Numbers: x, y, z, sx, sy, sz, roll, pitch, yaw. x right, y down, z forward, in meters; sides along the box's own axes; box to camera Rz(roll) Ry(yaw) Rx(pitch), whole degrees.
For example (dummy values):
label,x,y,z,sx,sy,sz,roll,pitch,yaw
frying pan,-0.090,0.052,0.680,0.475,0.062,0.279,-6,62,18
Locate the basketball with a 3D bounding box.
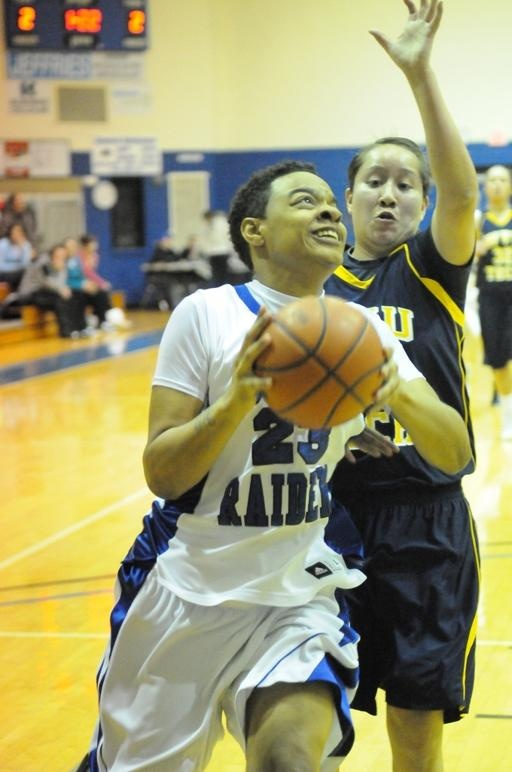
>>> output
label,x,y,z,sx,sy,sz,roll,pitch,yaw
basketball,0.076,-0.026,1.101,0.178,0.190,0.176,2,-5,-2
